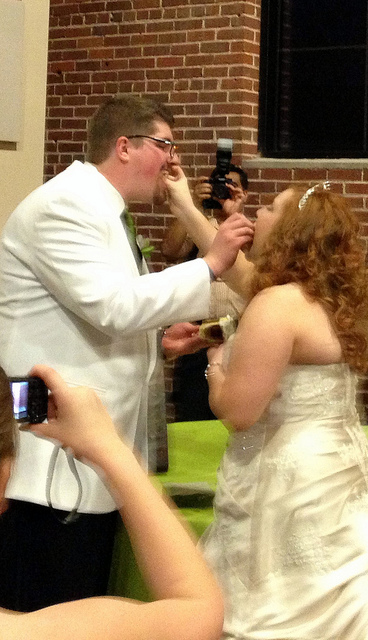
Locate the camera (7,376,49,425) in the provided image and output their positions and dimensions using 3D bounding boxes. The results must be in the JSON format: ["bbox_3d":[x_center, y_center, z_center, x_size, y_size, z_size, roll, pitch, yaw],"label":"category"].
[{"bbox_3d":[-0.167,0.087,0.590,0.052,0.057,0.030,-7,9,-41],"label":"camera"}]
